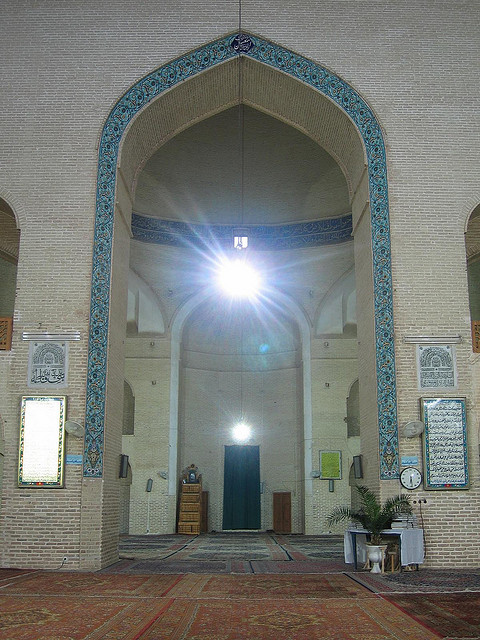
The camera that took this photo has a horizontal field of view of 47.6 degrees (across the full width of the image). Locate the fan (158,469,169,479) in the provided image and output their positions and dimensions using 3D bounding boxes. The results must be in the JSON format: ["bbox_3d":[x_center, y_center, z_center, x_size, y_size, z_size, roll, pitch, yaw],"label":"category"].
[{"bbox_3d":[-1.983,3.989,14.070,0.200,0.070,0.189,-10,-31,15],"label":"fan"}]

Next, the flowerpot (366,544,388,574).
[{"bbox_3d":[1.634,2.863,6.523,0.295,0.327,0.271,1,-31,4],"label":"flowerpot"}]

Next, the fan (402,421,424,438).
[{"bbox_3d":[2.242,1.408,7.012,0.215,0.207,0.077,-28,6,9],"label":"fan"}]

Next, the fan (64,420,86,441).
[{"bbox_3d":[-2.111,1.386,6.849,0.224,0.068,0.213,22,-50,8],"label":"fan"}]

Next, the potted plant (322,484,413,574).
[{"bbox_3d":[1.756,2.550,7.287,1.322,1.169,1.286,-12,-20,39],"label":"potted plant"}]

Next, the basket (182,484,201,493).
[{"bbox_3d":[-1.313,4.498,14.519,0.427,0.218,0.105,-3,-14,6],"label":"basket"}]

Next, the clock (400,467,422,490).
[{"bbox_3d":[2.180,2.031,6.922,0.215,0.205,0.028,24,-14,6],"label":"clock"}]
